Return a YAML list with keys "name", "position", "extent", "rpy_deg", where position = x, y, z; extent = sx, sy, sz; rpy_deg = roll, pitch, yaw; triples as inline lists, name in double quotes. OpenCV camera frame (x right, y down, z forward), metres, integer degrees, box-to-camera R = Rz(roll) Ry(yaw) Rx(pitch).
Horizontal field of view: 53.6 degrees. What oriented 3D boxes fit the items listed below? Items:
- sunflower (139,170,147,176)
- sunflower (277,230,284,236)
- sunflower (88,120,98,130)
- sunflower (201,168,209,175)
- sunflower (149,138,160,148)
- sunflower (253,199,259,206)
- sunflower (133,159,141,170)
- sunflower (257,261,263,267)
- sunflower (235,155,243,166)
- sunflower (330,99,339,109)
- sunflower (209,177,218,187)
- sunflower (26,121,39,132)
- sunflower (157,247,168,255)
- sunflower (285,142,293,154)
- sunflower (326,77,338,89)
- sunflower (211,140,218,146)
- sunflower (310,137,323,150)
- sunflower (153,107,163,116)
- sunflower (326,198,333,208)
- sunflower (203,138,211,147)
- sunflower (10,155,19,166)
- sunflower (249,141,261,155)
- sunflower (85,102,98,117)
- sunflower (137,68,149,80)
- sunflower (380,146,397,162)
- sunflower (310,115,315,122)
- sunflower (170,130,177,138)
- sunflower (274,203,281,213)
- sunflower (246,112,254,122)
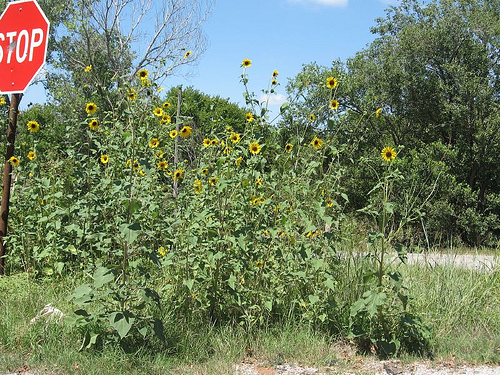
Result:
- name: "sunflower"
  position: [-1.557, -0.195, 7.225]
  extent: [0.083, 0.112, 0.243]
  rpy_deg: [-5, 15, -16]
- name: "sunflower"
  position: [0.391, 0.589, 6.319]
  extent: [0.082, 0.044, 0.084]
  rpy_deg: [34, -15, -21]
- name: "sunflower"
  position: [-2.194, -0.865, 6.947]
  extent: [0.112, 0.168, 0.400]
  rpy_deg: [-6, 15, -19]
- name: "sunflower"
  position: [-0.620, -0.213, 6.774]
  extent: [0.083, 0.110, 0.171]
  rpy_deg: [-1, 14, 0]
- name: "sunflower"
  position: [-1.218, -0.555, 6.294]
  extent: [0.082, 0.159, 0.415]
  rpy_deg: [-3, 14, -7]
- name: "sunflower"
  position: [0.075, 0.197, 6.358]
  extent: [0.075, 0.079, 0.035]
  rpy_deg: [-4, 13, -13]
- name: "sunflower"
  position: [-1.387, -0.254, 6.050]
  extent: [0.076, 0.117, 0.264]
  rpy_deg: [-4, 15, -12]
- name: "sunflower"
  position: [0.122, 0.965, 6.130]
  extent: [0.067, 0.059, 0.017]
  rpy_deg: [-1, 13, -1]
- name: "sunflower"
  position: [-0.153, -0.330, 6.584]
  extent: [0.088, 0.161, 0.307]
  rpy_deg: [-2, 14, -2]
- name: "sunflower"
  position: [1.207, -1.195, 7.126]
  extent: [0.107, 0.155, 0.570]
  rpy_deg: [1, 15, 11]
- name: "sunflower"
  position: [-0.477, -0.049, 6.495]
  extent: [0.110, 0.159, 0.255]
  rpy_deg: [-2, 14, -3]
- name: "sunflower"
  position: [-3.530, -0.980, 8.079]
  extent: [0.152, 0.173, 0.278]
  rpy_deg: [-7, 15, -24]
- name: "sunflower"
  position: [-1.274, 0.938, 7.206]
  extent: [0.133, 0.139, 0.057]
  rpy_deg: [36, 32, 14]
- name: "sunflower"
  position: [0.523, -0.525, 6.735]
  extent: [0.037, 0.095, 0.086]
  rpy_deg: [-22, 18, -39]
- name: "sunflower"
  position: [1.215, -1.526, 7.307]
  extent: [0.159, 0.166, 0.342]
  rpy_deg: [1, 14, 9]
- name: "sunflower"
  position: [-0.501, -0.631, 7.113]
  extent: [0.069, 0.096, 0.175]
  rpy_deg: [-8, 16, -28]
- name: "sunflower"
  position: [0.928, -0.598, 6.885]
  extent: [0.164, 0.188, 0.312]
  rpy_deg: [1, 14, 8]
- name: "sunflower"
  position: [-1.547, -1.258, 8.343]
  extent: [0.149, 0.141, 0.202]
  rpy_deg: [-4, 14, -11]
- name: "sunflower"
  position: [1.013, 0.203, 6.330]
  extent: [0.040, 0.102, 0.097]
  rpy_deg: [8, 12, 41]
- name: "sunflower"
  position: [-0.643, -0.651, 7.370]
  extent: [0.062, 0.144, 0.255]
  rpy_deg: [-7, 15, -24]
- name: "sunflower"
  position: [-3.801, -0.421, 7.992]
  extent: [0.112, 0.153, 0.237]
  rpy_deg: [-7, 15, -23]
- name: "sunflower"
  position: [0.061, -0.512, 6.688]
  extent: [0.151, 0.189, 0.200]
  rpy_deg: [-1, 14, 1]
- name: "sunflower"
  position: [-2.203, -1.085, 6.872]
  extent: [0.118, 0.158, 0.252]
  rpy_deg: [-7, 15, -23]
- name: "sunflower"
  position: [-1.523, -1.597, 7.043]
  extent: [0.135, 0.143, 0.331]
  rpy_deg: [-5, 15, -14]
- name: "sunflower"
  position: [1.744, -0.402, 6.243]
  extent: [0.154, 0.204, 0.277]
  rpy_deg: [3, 14, 15]
- name: "sunflower"
  position: [0.877, -0.962, 6.959]
  extent: [0.067, 0.123, 0.288]
  rpy_deg: [1, 14, 10]
- name: "sunflower"
  position: [-1.195, -0.825, 7.744]
  extent: [0.101, 0.140, 0.339]
  rpy_deg: [-3, 14, -10]
- name: "sunflower"
  position: [0.350, 0.286, 6.383]
  extent: [0.052, 0.101, 0.104]
  rpy_deg: [33, 7, 9]
- name: "sunflower"
  position: [-0.007, -1.018, 7.324]
  extent: [0.113, 0.127, 0.220]
  rpy_deg: [-4, 14, -11]
